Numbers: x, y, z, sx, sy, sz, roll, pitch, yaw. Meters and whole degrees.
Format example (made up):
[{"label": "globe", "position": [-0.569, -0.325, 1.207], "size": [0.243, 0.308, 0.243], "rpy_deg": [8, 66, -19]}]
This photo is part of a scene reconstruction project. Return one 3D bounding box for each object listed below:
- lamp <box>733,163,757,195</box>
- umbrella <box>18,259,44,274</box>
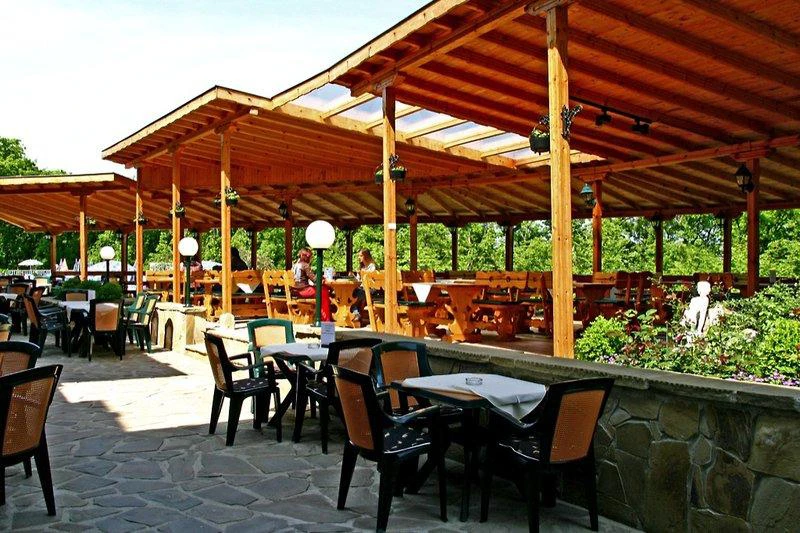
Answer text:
[{"label": "lamp", "position": [6.981, -1.805, 13.175], "size": [0.336, 0.623, 0.631], "rpy_deg": [-1, -3, 27]}, {"label": "umbrella", "position": [-22.099, -0.011, 39.244], "size": [1.261, 0.624, 1.081], "rpy_deg": [0, -1, -7]}]
